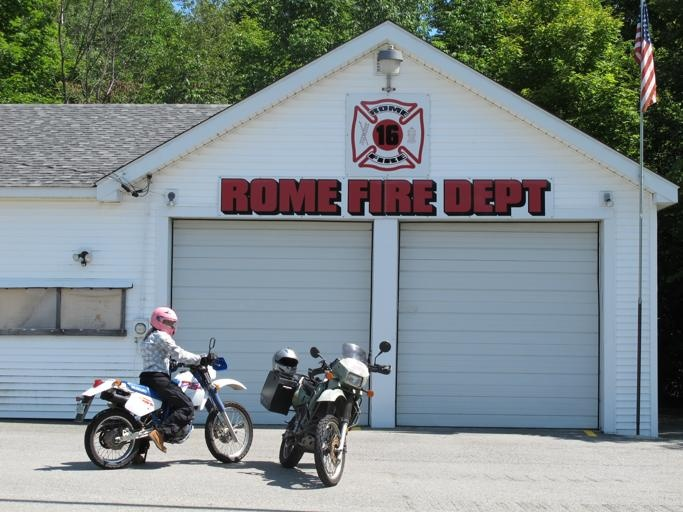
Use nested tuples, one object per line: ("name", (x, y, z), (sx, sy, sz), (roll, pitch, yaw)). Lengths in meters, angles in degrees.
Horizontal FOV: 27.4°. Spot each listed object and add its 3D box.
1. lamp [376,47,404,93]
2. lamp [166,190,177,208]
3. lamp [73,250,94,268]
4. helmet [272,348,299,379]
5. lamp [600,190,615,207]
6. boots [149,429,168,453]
("lamp", (1.134, -4.376, 33.076), (0.638, 0.708, 0.418), (4, -2, 1))
("lamp", (-4.106, -1.328, 33.196), (0.321, 0.383, 0.096), (3, -2, -7))
("lamp", (-6.253, 0.064, 33.254), (0.412, 0.290, 0.147), (3, -2, 10))
("helmet", (-1.256, 2.303, 29.867), (0.508, 0.486, 0.597), (7, -23, -14))
("lamp", (6.309, -1.312, 32.997), (0.381, 0.451, 0.250), (4, -11, -16))
("boots", (-3.879, 3.823, 29.115), (0.291, 0.595, 0.200), (-22, 8, -13))
